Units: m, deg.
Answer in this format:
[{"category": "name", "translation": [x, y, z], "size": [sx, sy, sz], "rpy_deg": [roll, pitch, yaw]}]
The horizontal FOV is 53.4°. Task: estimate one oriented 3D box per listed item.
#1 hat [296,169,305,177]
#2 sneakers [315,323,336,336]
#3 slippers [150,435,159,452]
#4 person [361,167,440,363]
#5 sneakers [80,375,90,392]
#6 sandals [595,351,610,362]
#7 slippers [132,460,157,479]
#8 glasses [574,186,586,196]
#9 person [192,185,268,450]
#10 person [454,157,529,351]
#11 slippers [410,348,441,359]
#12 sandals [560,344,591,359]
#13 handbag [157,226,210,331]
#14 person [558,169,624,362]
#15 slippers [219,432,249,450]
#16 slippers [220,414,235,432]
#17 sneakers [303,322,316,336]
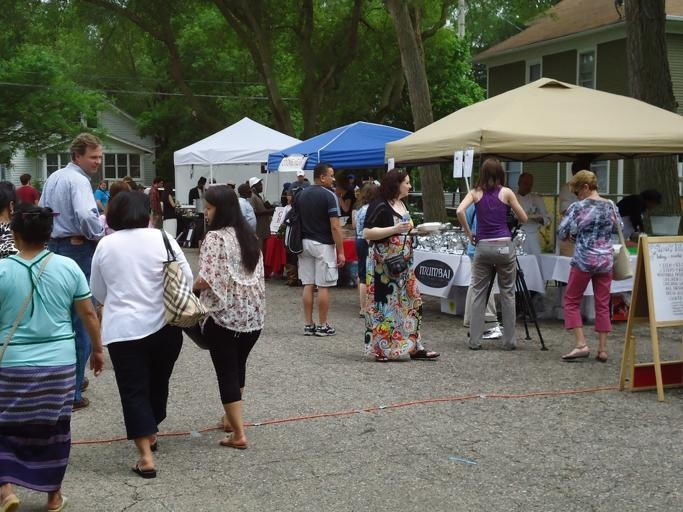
[{"category": "hat", "translation": [-0.916, -1.775, 14.636], "size": [0.195, 0.128, 0.331], "rpy_deg": [0, 6, 0]}, {"category": "sneakers", "translation": [-0.229, 0.977, 9.074], "size": [0.289, 0.137, 0.124], "rpy_deg": [-3, 6, -32]}, {"category": "slippers", "translation": [-1.433, 1.415, 5.194], "size": [0.044, 0.054, 0.147], "rpy_deg": [2, 12, -5]}, {"category": "person", "translation": [0.577, 0.119, 7.541], "size": [0.722, 2.140, 0.486], "rpy_deg": [-2, 6, -7]}, {"category": "sneakers", "translation": [-2.516, 1.249, 6.671], "size": [0.067, 0.079, 0.185], "rpy_deg": [5, 26, -6]}, {"category": "sandals", "translation": [2.873, 1.107, 7.480], "size": [0.068, 0.069, 0.179], "rpy_deg": [1, 5, 12]}, {"category": "slippers", "translation": [-1.373, 1.485, 4.776], "size": [0.072, 0.059, 0.178], "rpy_deg": [-5, 9, -40]}, {"category": "glasses", "translation": [2.658, -0.727, 7.621], "size": [0.086, 0.092, 0.087], "rpy_deg": [-9, 13, -27]}, {"category": "person", "translation": [-0.846, 0.466, 5.193], "size": [0.577, 2.000, 0.317], "rpy_deg": [-6, 8, -40]}, {"category": "person", "translation": [1.773, -0.018, 8.061], "size": [0.759, 2.252, 0.449], "rpy_deg": [1, 6, 13]}, {"category": "slippers", "translation": [0.944, 1.097, 7.759], "size": [0.344, 0.164, 0.126], "rpy_deg": [0, 0, 0]}, {"category": "sandals", "translation": [2.591, 1.055, 7.549], "size": [0.290, 0.135, 0.140], "rpy_deg": [-2, -1, 8]}, {"category": "handbag", "translation": [-1.159, 0.158, 4.765], "size": [0.340, 0.644, 0.217], "rpy_deg": [2, 6, 22]}, {"category": "person", "translation": [2.717, 0.105, 7.500], "size": [0.645, 2.061, 0.456], "rpy_deg": [1, 6, 15]}, {"category": "slippers", "translation": [-0.834, 1.427, 5.275], "size": [0.207, 0.103, 0.107], "rpy_deg": [9, 6, 37]}, {"category": "slippers", "translation": [-0.949, 1.385, 5.651], "size": [0.102, 0.123, 0.292], "rpy_deg": [1, 4, -7]}, {"category": "sneakers", "translation": [-0.427, 0.969, 9.083], "size": [0.087, 0.097, 0.226], "rpy_deg": [1, 4, 18]}]
